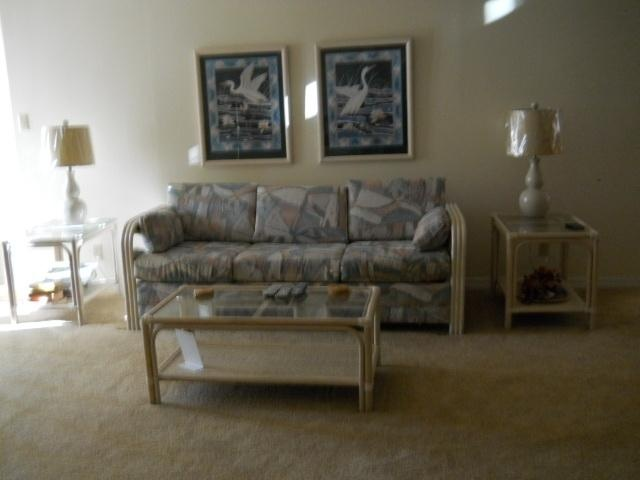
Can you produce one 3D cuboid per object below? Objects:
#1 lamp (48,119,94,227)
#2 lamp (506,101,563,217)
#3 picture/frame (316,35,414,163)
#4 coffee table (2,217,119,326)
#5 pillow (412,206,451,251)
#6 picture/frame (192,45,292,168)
[{"bbox_3d":[-1.764,-0.474,3.787,0.298,0.722,0.303,2,7,36],"label":"lamp"},{"bbox_3d":[1.344,-0.506,3.417,0.316,0.775,0.347,0,8,11],"label":"lamp"},{"bbox_3d":[0.333,-1.021,3.851,0.685,0.836,0.076,0,14,9],"label":"picture/frame"},{"bbox_3d":[-1.887,-0.009,3.861,0.646,0.825,1.233,1,10,4],"label":"coffee table"},{"bbox_3d":[0.810,-0.078,3.271,0.267,0.255,0.445,1,8,17],"label":"pillow"},{"bbox_3d":[-0.574,-1.010,3.933,0.663,0.862,0.048,1,14,6],"label":"picture/frame"}]
